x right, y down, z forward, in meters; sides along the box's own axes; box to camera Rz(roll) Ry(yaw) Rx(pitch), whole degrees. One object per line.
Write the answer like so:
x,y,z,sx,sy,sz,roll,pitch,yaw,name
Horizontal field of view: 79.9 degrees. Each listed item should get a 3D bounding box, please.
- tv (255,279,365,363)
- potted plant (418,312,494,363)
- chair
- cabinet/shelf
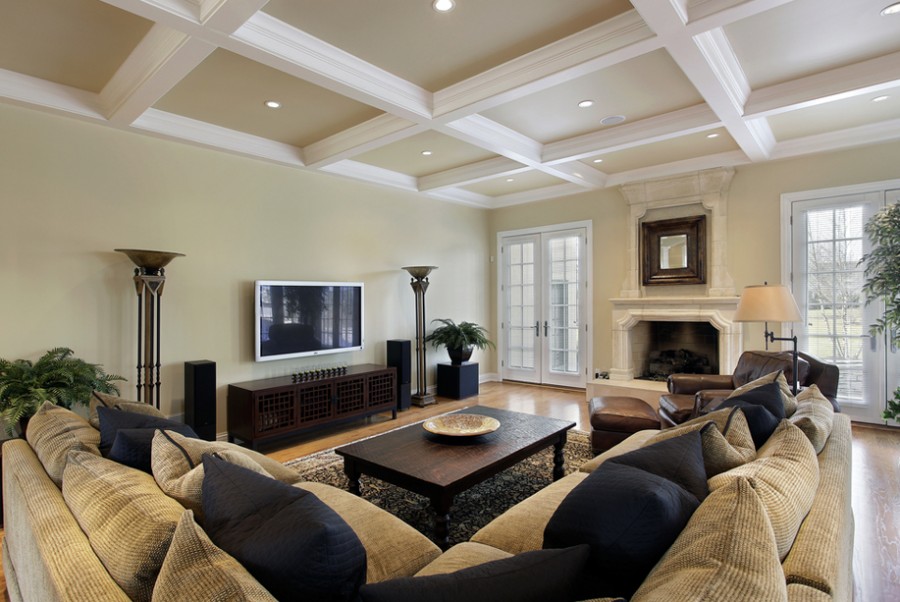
-1.514,0.199,5.889,1.349,0.815,0.051,-3,-5,17,tv
0.073,0.495,7.332,0.726,0.433,0.696,4,-4,-31,potted plant
2.588,0.862,4.747,1.189,0.763,1.165,-5,2,4,chair
-1.122,1.060,5.681,1.800,0.561,0.476,-14,-9,20,cabinet/shelf
